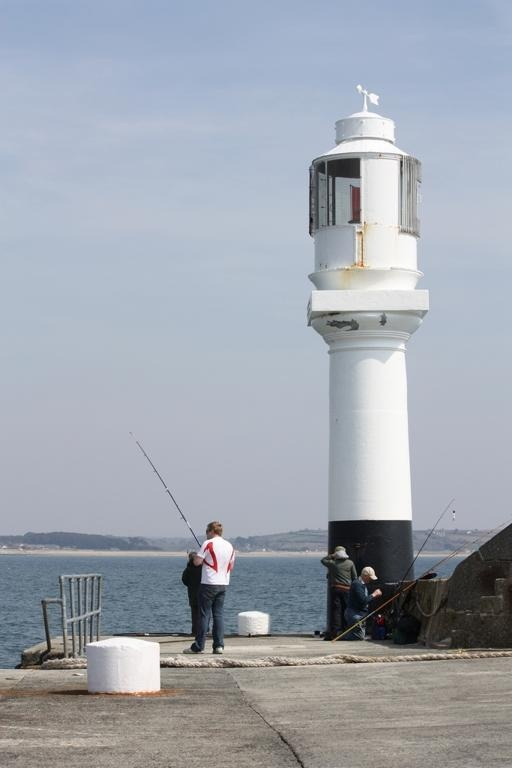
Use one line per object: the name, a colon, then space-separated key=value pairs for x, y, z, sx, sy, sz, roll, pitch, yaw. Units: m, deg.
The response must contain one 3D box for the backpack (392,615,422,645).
backpack: x=1.741 y=2.847 z=17.917 sx=0.242 sy=0.330 sz=0.336 roll=3 pitch=1 yaw=4
